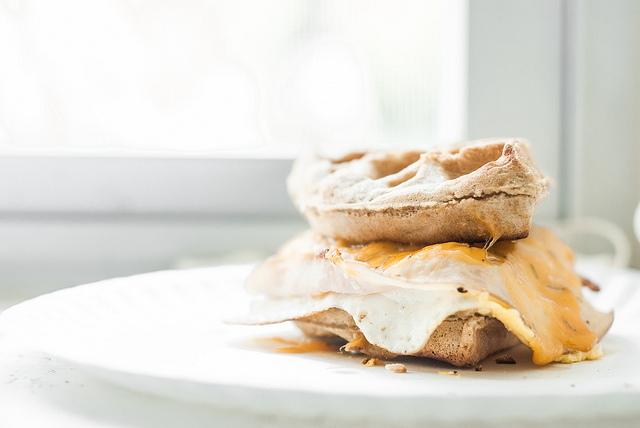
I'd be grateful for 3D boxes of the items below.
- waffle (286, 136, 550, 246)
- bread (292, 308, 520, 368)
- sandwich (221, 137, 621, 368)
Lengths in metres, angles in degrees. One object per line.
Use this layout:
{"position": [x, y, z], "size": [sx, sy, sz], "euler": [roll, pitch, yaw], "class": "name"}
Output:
{"position": [0.211, -0.017, 1.054], "size": [0.447, 0.144, 0.425], "euler": [-8, 0, 7], "class": "waffle"}
{"position": [0.125, 0.116, 0.936], "size": [0.215, 0.104, 0.184], "euler": [-11, 17, -43], "class": "bread"}
{"position": [0.119, 0.072, 0.947], "size": [0.437, 0.210, 0.402], "euler": [-1, 1, 27], "class": "sandwich"}
